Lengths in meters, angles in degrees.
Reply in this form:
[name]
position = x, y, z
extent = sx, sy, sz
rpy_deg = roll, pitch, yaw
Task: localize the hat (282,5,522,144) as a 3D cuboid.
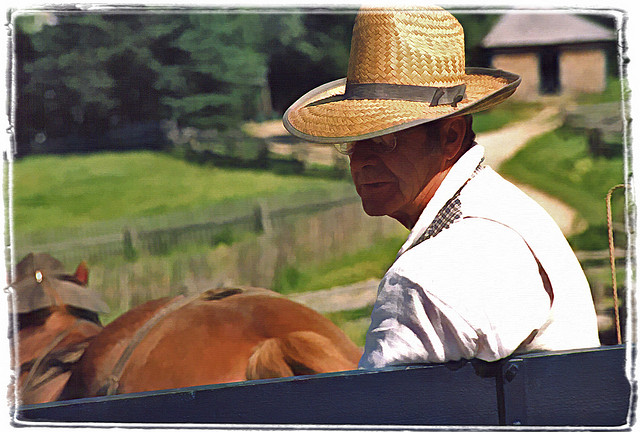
[hat]
position = 0.465, -0.730, 8.500
extent = 1.051, 0.405, 0.858
rpy_deg = -13, 16, -23
